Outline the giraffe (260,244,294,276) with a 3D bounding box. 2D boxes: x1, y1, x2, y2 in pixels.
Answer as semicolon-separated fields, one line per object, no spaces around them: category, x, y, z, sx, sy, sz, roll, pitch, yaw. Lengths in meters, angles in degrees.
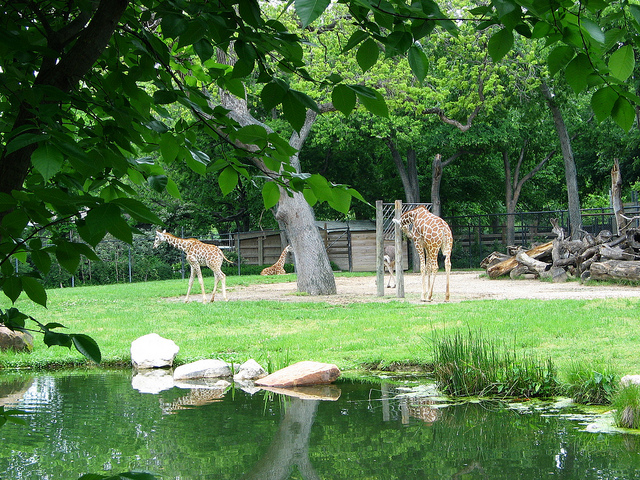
giraffe;-1.696;0.780;29.376;1.030;1.150;3.315;-3;5;-3
